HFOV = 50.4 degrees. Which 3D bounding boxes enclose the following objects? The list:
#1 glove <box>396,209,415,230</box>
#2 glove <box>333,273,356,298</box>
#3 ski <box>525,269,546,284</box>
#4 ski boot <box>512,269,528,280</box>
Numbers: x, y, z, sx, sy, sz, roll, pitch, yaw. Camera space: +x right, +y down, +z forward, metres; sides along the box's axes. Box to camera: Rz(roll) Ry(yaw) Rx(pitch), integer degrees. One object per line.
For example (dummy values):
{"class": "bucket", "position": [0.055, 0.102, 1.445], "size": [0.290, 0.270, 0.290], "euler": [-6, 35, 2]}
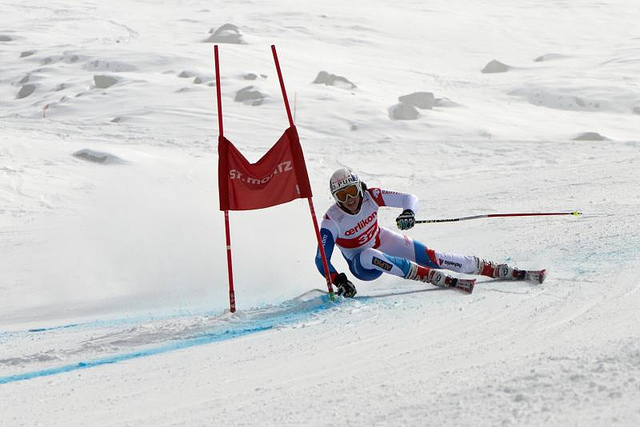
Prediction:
{"class": "glove", "position": [1.358, 0.185, 10.895], "size": [0.288, 0.403, 0.359], "euler": [6, 34, 6]}
{"class": "glove", "position": [0.366, 1.145, 10.777], "size": [0.317, 0.229, 0.408], "euler": [-31, 62, -16]}
{"class": "ski", "position": [3.290, 0.968, 10.406], "size": [0.300, 0.190, 0.290], "euler": [11, 34, 14]}
{"class": "ski boot", "position": [3.094, 0.953, 10.559], "size": [0.210, 0.086, 0.135], "euler": [9, 6, 4]}
